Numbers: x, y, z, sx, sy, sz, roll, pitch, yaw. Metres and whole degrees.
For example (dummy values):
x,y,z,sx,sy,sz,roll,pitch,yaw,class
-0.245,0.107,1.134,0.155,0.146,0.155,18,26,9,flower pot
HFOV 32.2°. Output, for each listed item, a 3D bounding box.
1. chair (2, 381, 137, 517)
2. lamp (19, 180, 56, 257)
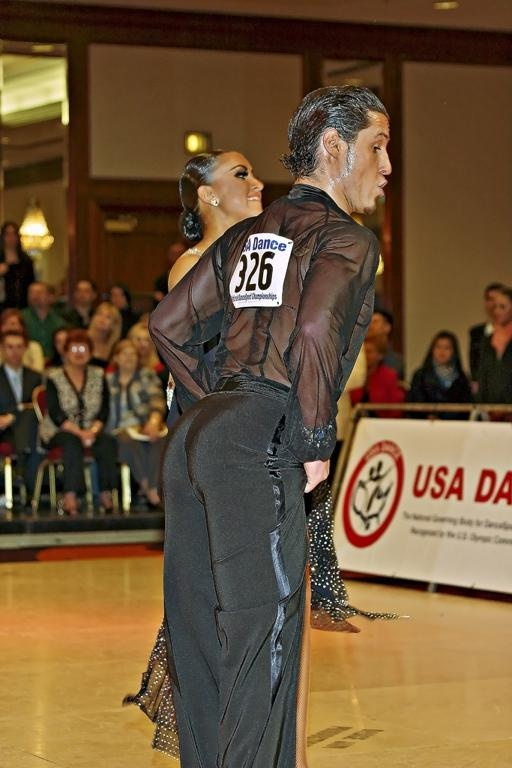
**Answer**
x,y,z,sx,sy,sz,roll,pitch,yaw,class
-1.324,0.456,6.228,0.921,0.877,0.620,1,-2,-7,chair
-2.306,-1.669,9.271,0.338,0.579,0.315,1,6,31,lamp
